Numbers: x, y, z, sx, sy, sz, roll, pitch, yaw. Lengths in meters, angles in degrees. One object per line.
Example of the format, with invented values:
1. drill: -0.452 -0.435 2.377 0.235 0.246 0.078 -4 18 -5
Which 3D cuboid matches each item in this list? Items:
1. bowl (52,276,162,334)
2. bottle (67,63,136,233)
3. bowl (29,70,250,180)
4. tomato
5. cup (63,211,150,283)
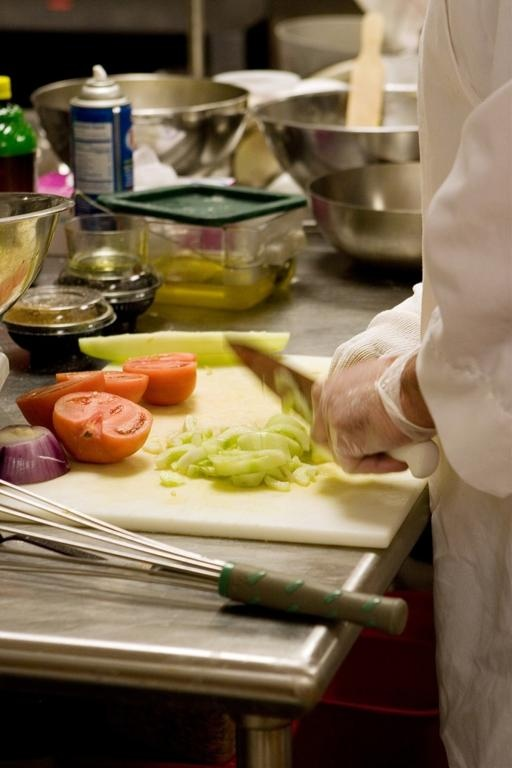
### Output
1. bowl: -0.209 -0.111 0.990 0.108 0.076 0.101 0 9 0
2. bottle: -0.247 -0.390 1.143 0.102 0.220 0.156 -4 27 -11
3. bowl: -0.234 -0.522 1.465 0.420 0.160 0.400 2 32 -1
4. tomato: -0.139 0.010 0.738 0.117 0.051 0.138 -1 12 29
5. cup: -0.207 -0.197 1.033 0.118 0.075 0.108 1 17 0
